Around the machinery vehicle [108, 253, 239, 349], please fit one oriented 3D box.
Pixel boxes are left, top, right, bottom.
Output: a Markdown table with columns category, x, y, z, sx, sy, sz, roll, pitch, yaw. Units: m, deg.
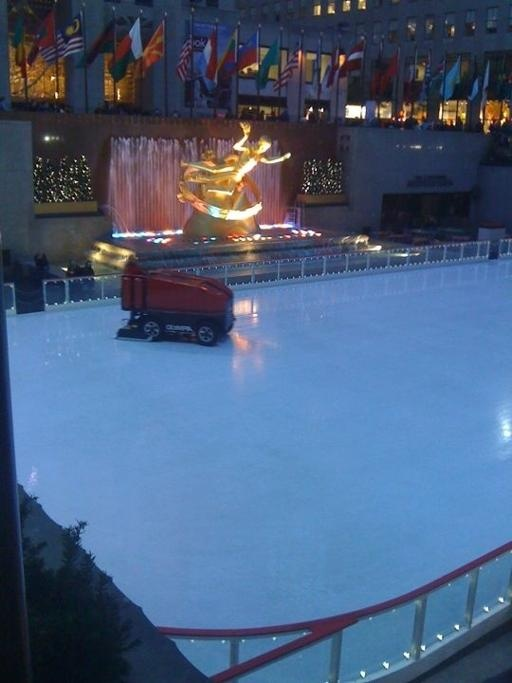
| category | x | y | z | sx | sy | sz | roll | pitch | yaw |
| --- | --- | --- | --- | --- | --- | --- | --- | --- | --- |
| machinery vehicle | -1.431 | -0.747 | 14.615 | 2.017 | 1.463 | 1.344 | 3 | 14 | 8 |
